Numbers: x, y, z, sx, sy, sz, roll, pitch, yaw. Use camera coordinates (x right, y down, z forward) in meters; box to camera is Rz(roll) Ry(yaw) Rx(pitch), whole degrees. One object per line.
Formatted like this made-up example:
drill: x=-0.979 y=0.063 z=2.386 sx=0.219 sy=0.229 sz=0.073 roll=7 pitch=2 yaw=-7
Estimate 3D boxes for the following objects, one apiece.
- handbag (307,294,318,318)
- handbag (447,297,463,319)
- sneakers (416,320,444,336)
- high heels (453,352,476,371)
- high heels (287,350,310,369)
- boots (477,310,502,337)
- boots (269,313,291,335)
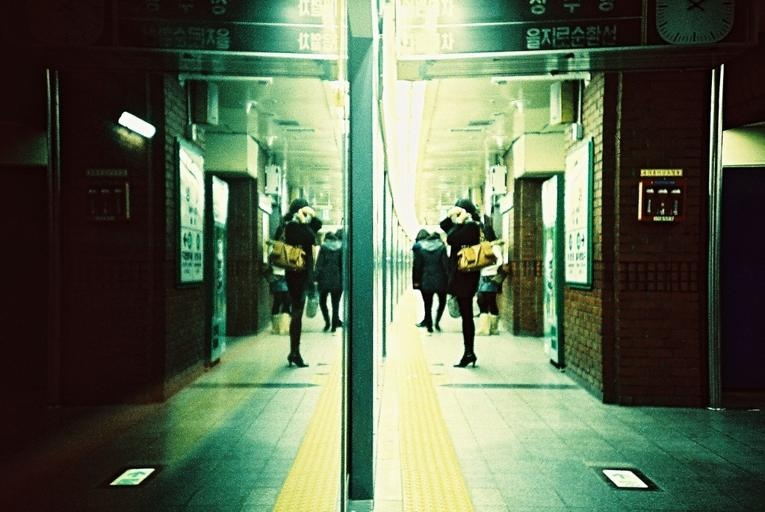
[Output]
handbag: x=-0.354 y=0.249 z=4.665 sx=0.047 sy=0.108 sz=0.024 roll=2 pitch=7 yaw=-38
handbag: x=0.825 y=0.591 z=10.818 sx=0.118 sy=0.205 sz=0.481 roll=3 pitch=-11 yaw=12
sneakers: x=0.545 y=0.859 z=11.359 sx=0.110 sy=0.171 sz=0.362 roll=-2 pitch=15 yaw=-22
high heels: x=0.757 y=0.928 z=8.304 sx=0.257 sy=0.207 sz=0.095 roll=2 pitch=3 yaw=6
high heels: x=-0.420 y=0.511 z=4.568 sx=0.121 sy=0.101 sz=0.047 roll=-2 pitch=-5 yaw=-11
boots: x=1.241 y=0.783 z=10.831 sx=0.243 sy=0.273 sz=0.191 roll=1 pitch=0 yaw=-1
boots: x=-0.477 y=0.305 z=4.388 sx=0.076 sy=0.153 sz=0.107 roll=2 pitch=0 yaw=33
